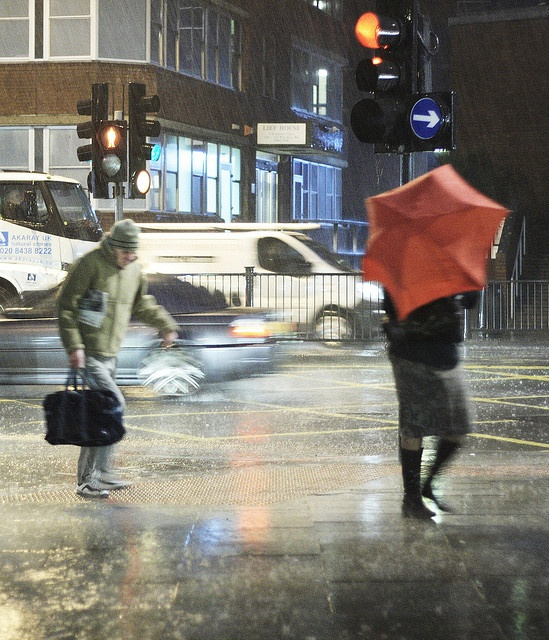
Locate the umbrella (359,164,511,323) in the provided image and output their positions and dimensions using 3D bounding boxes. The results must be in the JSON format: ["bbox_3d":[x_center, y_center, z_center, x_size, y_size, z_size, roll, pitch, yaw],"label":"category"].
[{"bbox_3d":[0.873,-0.411,5.996,0.755,0.795,0.453,0,3,4],"label":"umbrella"}]

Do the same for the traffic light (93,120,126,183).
[{"bbox_3d":[-2.076,-2.111,13.699,0.403,0.760,0.214,-1,3,-8],"label":"traffic light"}]

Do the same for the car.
[{"bbox_3d":[-1.431,0.152,11.284,2.770,0.924,1.199,2,0,-2],"label":"car"}]

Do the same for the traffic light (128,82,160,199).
[{"bbox_3d":[-1.694,-2.300,13.969,0.394,1.484,0.491,0,3,-6],"label":"traffic light"}]

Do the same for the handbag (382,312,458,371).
[{"bbox_3d":[0.825,0.115,6.020,0.358,0.325,0.315,-4,6,12],"label":"handbag"}]

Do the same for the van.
[{"bbox_3d":[-0.195,-0.648,18.167,3.762,1.885,1.852,0,2,4],"label":"van"}]

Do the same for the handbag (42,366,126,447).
[{"bbox_3d":[-1.146,0.594,6.498,0.468,0.334,0.203,-1,3,-18],"label":"handbag"}]

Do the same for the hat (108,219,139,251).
[{"bbox_3d":[-0.954,-0.513,6.722,0.207,0.175,0.152,3,7,31],"label":"hat"}]
